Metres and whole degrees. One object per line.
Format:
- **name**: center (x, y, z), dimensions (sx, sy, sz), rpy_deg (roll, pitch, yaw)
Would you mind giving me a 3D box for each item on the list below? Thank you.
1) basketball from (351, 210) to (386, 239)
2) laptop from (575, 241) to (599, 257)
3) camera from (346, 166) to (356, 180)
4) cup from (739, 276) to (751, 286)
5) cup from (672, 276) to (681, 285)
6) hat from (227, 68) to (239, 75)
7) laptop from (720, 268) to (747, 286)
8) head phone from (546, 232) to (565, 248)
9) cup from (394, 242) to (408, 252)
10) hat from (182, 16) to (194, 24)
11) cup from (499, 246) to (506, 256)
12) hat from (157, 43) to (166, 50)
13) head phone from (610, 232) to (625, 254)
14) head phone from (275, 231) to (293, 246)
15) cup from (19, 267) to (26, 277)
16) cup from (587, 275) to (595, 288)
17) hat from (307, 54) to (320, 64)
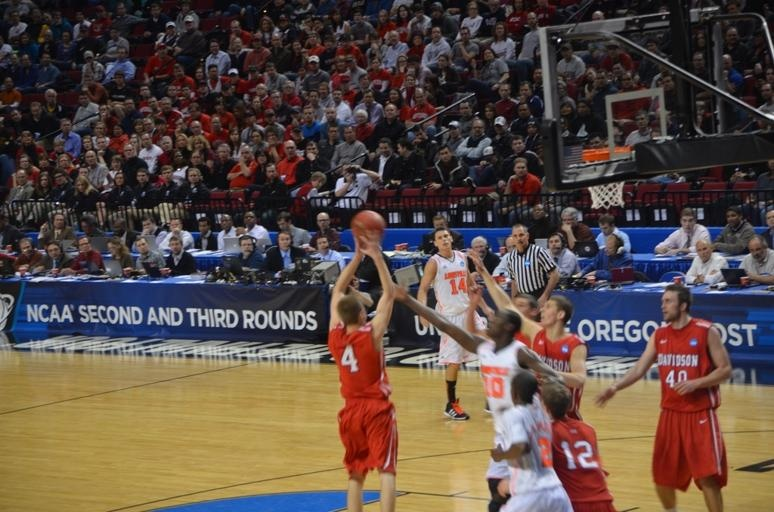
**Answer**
- **basketball**: center (-0.197, -0.379, 10.844), dimensions (0.314, 0.305, 0.355), rpy_deg (-13, 33, -28)
- **laptop**: center (3.603, -0.140, 18.135), dimensions (0.390, 0.280, 0.285), rpy_deg (-1, 44, 30)
- **camera**: center (-0.771, -1.861, 22.016), dimensions (0.162, 0.294, 0.287), rpy_deg (4, 19, -1)
- **cup**: center (5.810, 0.393, 16.308), dimensions (0.166, 0.123, 0.134), rpy_deg (-1, 1, 26)
- **cup**: center (4.629, 0.370, 16.065), dimensions (0.107, 0.117, 0.130), rpy_deg (0, -5, -11)
- **hat**: center (-4.021, -4.795, 26.055), dimensions (0.249, 0.204, 0.398), rpy_deg (0, -9, -5)
- **laptop**: center (5.617, 0.321, 16.300), dimensions (0.315, 0.223, 0.270), rpy_deg (0, -6, 20)
- **head phone**: center (3.003, -0.270, 17.794), dimensions (0.235, 0.279, 0.301), rpy_deg (-6, -9, 24)
- **cup**: center (0.273, -0.182, 19.985), dimensions (0.226, 0.167, 0.151), rpy_deg (1, -3, -44)
- **hat**: center (-5.662, -6.761, 28.600), dimensions (0.245, 0.182, 0.357), rpy_deg (-1, -3, -1)
- **cup**: center (2.145, -0.114, 18.664), dimensions (0.141, 0.132, 0.140), rpy_deg (0, -4, 0)
- **hat**: center (-6.322, -5.872, 28.087), dimensions (0.269, 0.140, 0.411), rpy_deg (-17, 16, -10)
- **head phone**: center (4.037, -0.231, 17.664), dimensions (0.223, 0.305, 0.208), rpy_deg (-17, 30, 11)
- **head phone**: center (-2.011, -0.331, 19.618), dimensions (0.231, 0.289, 0.288), rpy_deg (-2, -3, -8)
- **cup**: center (-7.837, 0.319, 21.629), dimensions (0.192, 0.186, 0.190), rpy_deg (2, -3, 0)
- **cup**: center (3.507, 0.428, 17.300), dimensions (0.179, 0.203, 0.181), rpy_deg (0, 0, 0)
- **hat**: center (-1.831, -4.915, 24.935), dimensions (0.226, 0.179, 0.346), rpy_deg (-1, 3, 8)
